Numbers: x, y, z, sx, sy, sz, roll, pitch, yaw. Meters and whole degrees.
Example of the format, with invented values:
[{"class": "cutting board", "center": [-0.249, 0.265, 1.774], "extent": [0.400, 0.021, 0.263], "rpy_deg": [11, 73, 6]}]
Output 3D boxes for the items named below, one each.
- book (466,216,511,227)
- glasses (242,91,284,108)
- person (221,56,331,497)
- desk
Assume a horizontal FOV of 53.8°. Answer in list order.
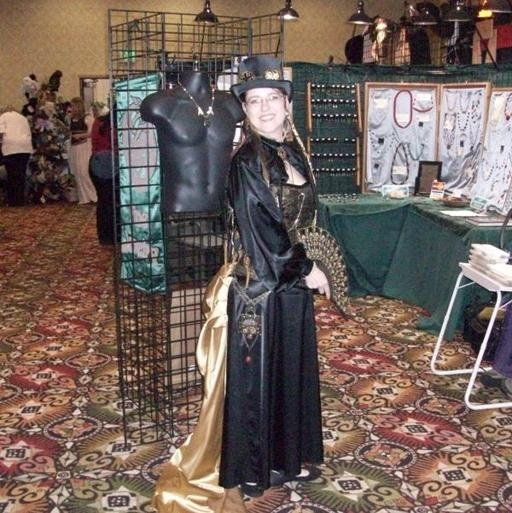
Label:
[{"class": "book", "center": [1.535, -0.234, 3.340], "extent": [0.224, 0.038, 0.218], "rpy_deg": [-2, 16, -2]}, {"class": "glasses", "center": [0.025, -0.524, 1.684], "extent": [0.071, 0.028, 0.084], "rpy_deg": [0, -3, 16]}, {"class": "person", "center": [0.070, 0.138, 1.777], "extent": [0.385, 1.603, 0.501], "rpy_deg": [0, 19, 7]}, {"class": "desk", "center": [1.183, 0.006, 4.045], "extent": [1.204, 0.498, 1.149], "rpy_deg": [-10, 18, -33]}]
